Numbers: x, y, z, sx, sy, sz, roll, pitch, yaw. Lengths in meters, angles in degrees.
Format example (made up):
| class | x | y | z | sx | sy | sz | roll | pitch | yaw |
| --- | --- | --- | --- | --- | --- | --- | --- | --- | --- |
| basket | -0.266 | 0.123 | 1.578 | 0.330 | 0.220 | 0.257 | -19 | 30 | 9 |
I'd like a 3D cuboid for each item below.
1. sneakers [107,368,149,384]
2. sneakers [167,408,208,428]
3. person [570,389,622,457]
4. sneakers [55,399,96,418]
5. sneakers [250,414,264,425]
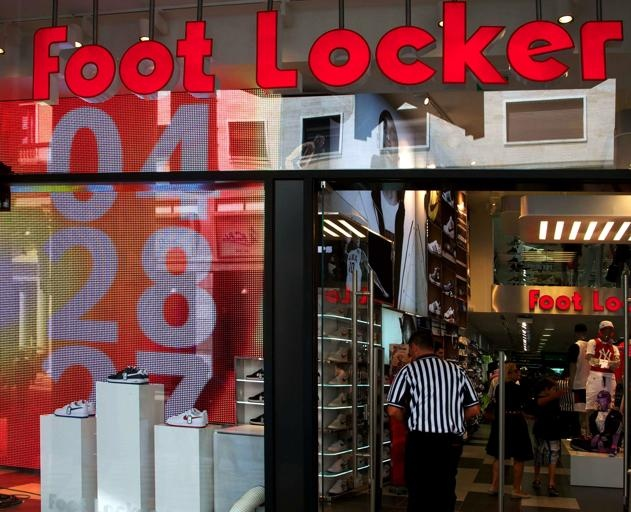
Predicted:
| class | x | y | z | sx | sy | sz | roll | pitch | yaw |
| --- | --- | --- | --- | --- | --- | --- | --- | --- | --- |
| sneakers | -1.215 | 0.787 | 4.980 | 0.266 | 0.106 | 0.101 | 3 | -8 | 8 |
| sneakers | -0.808 | 1.047 | 4.942 | 0.279 | 0.123 | 0.107 | 2 | -12 | 9 |
| person | 3.390 | 1.962 | 9.040 | 0.378 | 0.742 | 0.796 | 3 | -4 | -28 |
| sneakers | -1.579 | 0.999 | 5.039 | 0.255 | 0.112 | 0.103 | 1 | -3 | 9 |
| sneakers | -0.367 | 1.037 | 4.806 | 0.109 | 0.051 | 0.041 | 2 | -6 | 20 |
